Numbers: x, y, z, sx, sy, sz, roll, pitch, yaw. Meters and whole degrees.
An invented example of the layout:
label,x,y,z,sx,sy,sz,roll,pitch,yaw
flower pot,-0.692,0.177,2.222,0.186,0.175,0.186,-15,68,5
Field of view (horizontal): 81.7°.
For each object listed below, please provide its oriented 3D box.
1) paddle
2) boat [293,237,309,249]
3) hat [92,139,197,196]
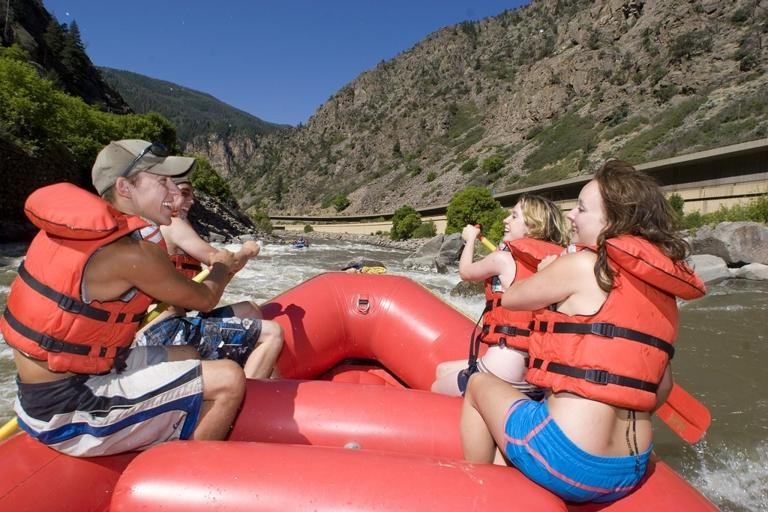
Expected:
label,x,y,z,sx,sy,sz,roll,pitch,yaw
paddle,1.244,0.408,2.301,0.653,0.889,1.005,14,-11,-13
boat,-4.999,-0.786,26.642,1.157,0.544,1.450,2,9,-1
hat,-1.409,-0.517,2.591,0.500,0.249,0.307,-16,12,-13
